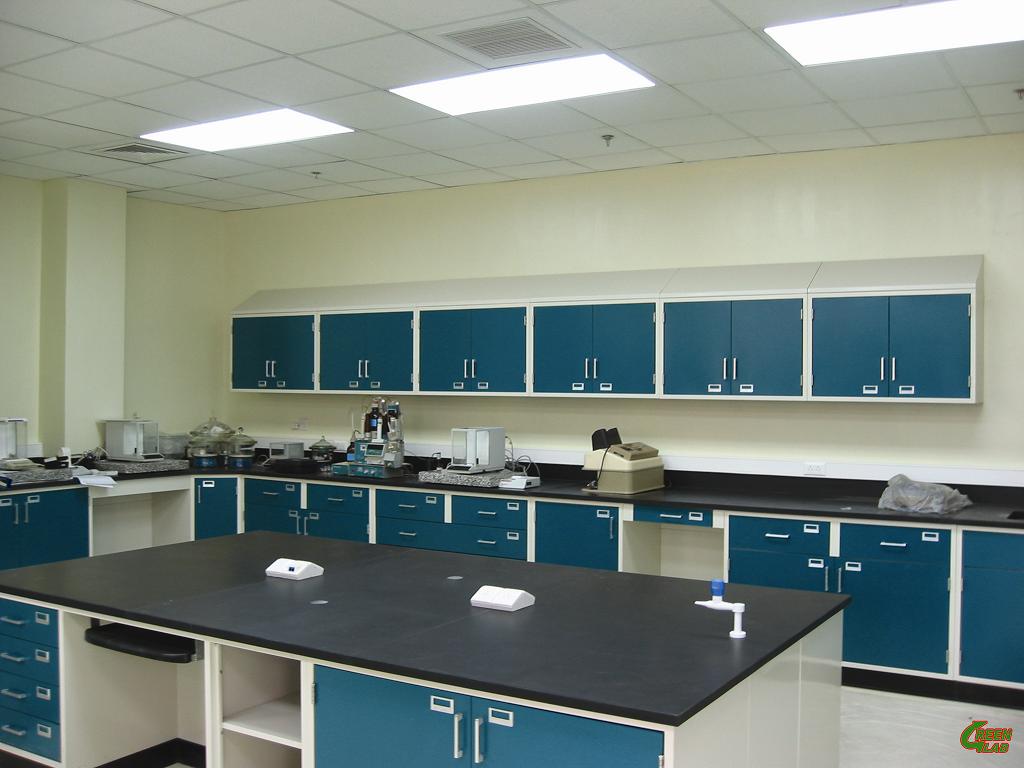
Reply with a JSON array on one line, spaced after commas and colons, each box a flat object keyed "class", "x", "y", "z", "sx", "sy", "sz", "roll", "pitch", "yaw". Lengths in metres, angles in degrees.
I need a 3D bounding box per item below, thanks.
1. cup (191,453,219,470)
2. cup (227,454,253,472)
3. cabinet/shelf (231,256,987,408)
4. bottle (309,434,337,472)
[{"class": "cup", "x": -2.778, "y": 0.703, "z": 7.123, "sx": 0.179, "sy": 0.104, "sz": 0.174, "roll": 0, "pitch": 1, "yaw": 0}, {"class": "cup", "x": -2.449, "y": 0.699, "z": 7.085, "sx": 0.174, "sy": 0.100, "sz": 0.169, "roll": 1, "pitch": 0, "yaw": 0}, {"class": "cabinet/shelf", "x": 0.533, "y": -0.398, "z": 6.293, "sx": 5.580, "sy": 0.979, "sz": 0.449, "roll": 0, "pitch": 4, "yaw": 23}, {"class": "bottle", "x": -1.719, "y": 0.623, "z": 7.082, "sx": 0.273, "sy": 0.255, "sz": 0.267, "roll": 1, "pitch": 1, "yaw": 6}]
